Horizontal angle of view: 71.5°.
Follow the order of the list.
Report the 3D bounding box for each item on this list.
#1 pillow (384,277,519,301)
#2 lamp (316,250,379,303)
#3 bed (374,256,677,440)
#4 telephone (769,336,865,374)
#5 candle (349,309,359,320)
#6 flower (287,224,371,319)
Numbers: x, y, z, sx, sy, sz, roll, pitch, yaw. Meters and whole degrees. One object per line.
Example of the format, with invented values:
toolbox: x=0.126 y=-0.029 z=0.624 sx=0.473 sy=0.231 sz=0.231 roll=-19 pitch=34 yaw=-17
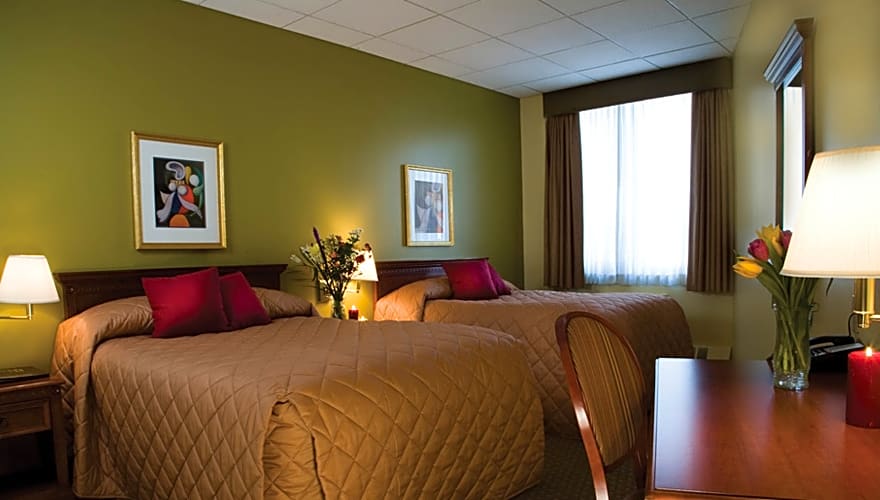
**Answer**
pillow: x=-0.127 y=0.431 z=6.989 sx=0.798 sy=0.199 sz=0.593 roll=-2 pitch=2 yaw=-26
lamp: x=-1.041 y=0.333 z=7.046 sx=0.545 sy=0.654 sz=0.625 roll=3 pitch=-10 yaw=-24
bed: x=0.981 y=0.720 z=6.598 sx=2.119 sy=1.115 sz=2.291 roll=-4 pitch=-4 yaw=36
telephone: x=2.654 y=0.706 z=4.244 sx=0.410 sy=0.166 sz=0.404 roll=-6 pitch=0 yaw=-38
candle: x=-0.980 y=0.736 z=6.960 sx=0.113 sy=0.124 sz=0.113 roll=0 pitch=-3 yaw=-16
flower: x=-1.139 y=0.306 z=6.984 sx=0.877 sy=1.004 sz=0.761 roll=2 pitch=2 yaw=-16
